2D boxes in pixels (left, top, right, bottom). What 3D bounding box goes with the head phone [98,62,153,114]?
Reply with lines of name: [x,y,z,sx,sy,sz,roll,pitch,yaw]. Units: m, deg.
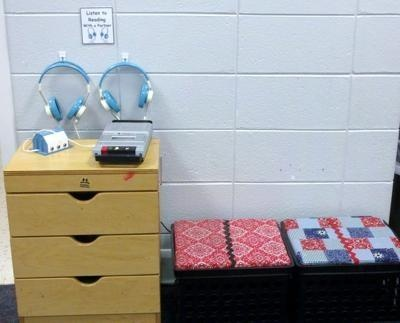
head phone: [-0.456,-0.462,2.332,0.342,0.292,0.133,-2,2,-7]

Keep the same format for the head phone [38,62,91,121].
head phone: [-0.819,-0.438,2.311,0.387,0.418,0.147,1,6,-6]

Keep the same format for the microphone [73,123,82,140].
microphone: [-0.763,-0.187,2.386,0.038,0.113,0.006,-15,29,-16]
